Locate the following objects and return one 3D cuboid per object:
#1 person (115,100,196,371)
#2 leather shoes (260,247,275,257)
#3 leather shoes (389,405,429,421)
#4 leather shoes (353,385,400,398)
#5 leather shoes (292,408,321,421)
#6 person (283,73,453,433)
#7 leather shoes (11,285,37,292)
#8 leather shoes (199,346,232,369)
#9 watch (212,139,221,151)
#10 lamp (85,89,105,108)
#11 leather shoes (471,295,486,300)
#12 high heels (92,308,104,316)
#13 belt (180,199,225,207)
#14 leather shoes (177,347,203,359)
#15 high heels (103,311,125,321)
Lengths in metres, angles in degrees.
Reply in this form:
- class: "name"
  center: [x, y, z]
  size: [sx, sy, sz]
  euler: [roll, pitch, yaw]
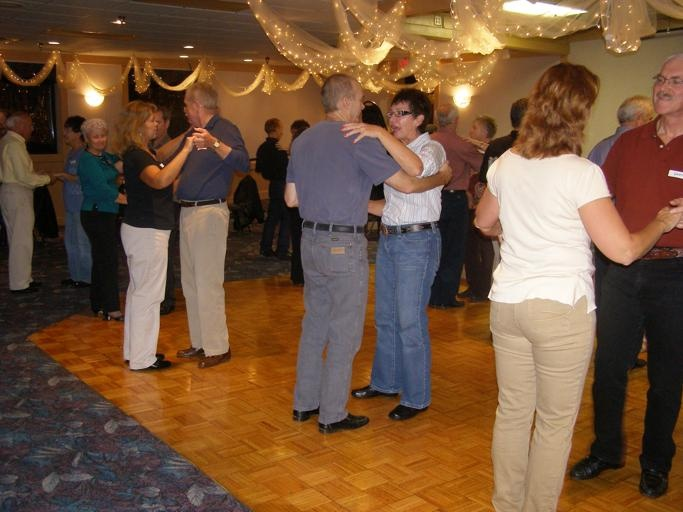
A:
- class: "person"
  center: [-1.364, -0.139, 4.130]
  size: [0.567, 1.922, 0.525]
  euler: [-5, 15, -18]
- class: "leather shoes"
  center: [-1.078, -0.057, 8.297]
  size: [0.237, 0.108, 0.152]
  euler: [1, 1, 7]
- class: "leather shoes"
  center: [0.421, 0.938, 3.502]
  size: [0.250, 0.084, 0.085]
  euler: [1, 5, -25]
- class: "leather shoes"
  center: [0.231, 0.891, 3.788]
  size: [0.317, 0.106, 0.098]
  euler: [4, -3, -6]
- class: "leather shoes"
  center: [-0.211, 0.938, 3.480]
  size: [0.181, 0.074, 0.062]
  euler: [-4, 7, -39]
- class: "person"
  center: [0.025, 0.133, 3.222]
  size: [0.750, 1.751, 0.378]
  euler: [2, 14, 6]
- class: "leather shoes"
  center: [-3.532, 0.369, 6.335]
  size: [0.239, 0.084, 0.081]
  euler: [-5, 9, -21]
- class: "leather shoes"
  center: [-0.947, 0.781, 4.295]
  size: [0.275, 0.098, 0.095]
  euler: [0, -1, -45]
- class: "watch"
  center: [-0.849, -0.755, 3.872]
  size: [0.040, 0.052, 0.057]
  euler: [4, -19, -28]
- class: "lamp"
  center: [-5.226, -3.333, 12.110]
  size: [0.167, 0.352, 0.452]
  euler: [8, 15, 28]
- class: "leather shoes"
  center: [1.452, 0.435, 6.014]
  size: [0.156, 0.059, 0.048]
  euler: [14, -23, -11]
- class: "high heels"
  center: [-2.334, 0.524, 5.453]
  size: [0.063, 0.070, 0.084]
  euler: [-25, 2, 46]
- class: "belt"
  center: [-1.007, -0.385, 4.117]
  size: [0.339, 0.060, 0.133]
  euler: [0, 12, -3]
- class: "leather shoes"
  center: [-1.173, 0.747, 4.418]
  size: [0.201, 0.070, 0.082]
  euler: [4, -6, -17]
- class: "high heels"
  center: [-2.132, 0.550, 5.333]
  size: [0.232, 0.074, 0.083]
  euler: [-2, 3, 6]
